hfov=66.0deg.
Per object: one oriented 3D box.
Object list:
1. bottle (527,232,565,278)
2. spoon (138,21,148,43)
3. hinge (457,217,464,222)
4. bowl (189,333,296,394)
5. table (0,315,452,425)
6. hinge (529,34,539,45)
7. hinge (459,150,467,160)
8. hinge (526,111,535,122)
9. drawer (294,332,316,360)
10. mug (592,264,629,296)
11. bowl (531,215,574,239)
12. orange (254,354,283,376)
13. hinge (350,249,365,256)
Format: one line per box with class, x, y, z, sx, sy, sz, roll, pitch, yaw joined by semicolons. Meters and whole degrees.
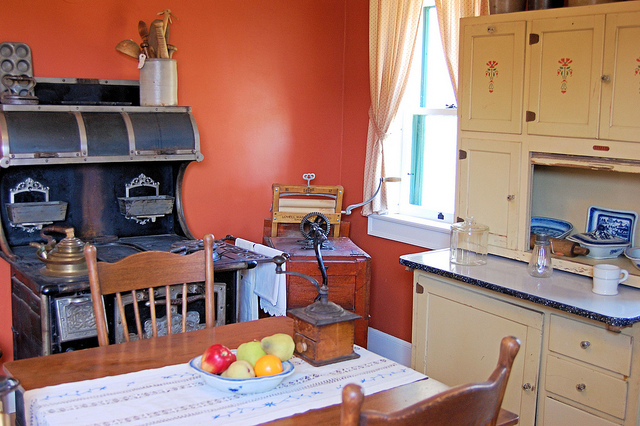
bottle;1.245;0.240;2.699;0.229;0.286;0.163;-2;6;-11
spoon;-1.211;-1.235;3.361;0.055;0.136;0.066;-4;15;-14
hinge;0.869;0.042;3.040;0.024;0.023;0.019;2;4;-23
bowl;-0.231;0.519;1.687;0.236;0.102;0.220;1;-1;0
table;-0.374;0.507;1.870;1.474;0.143;0.755;3;14;13
hinge;1.170;-0.951;2.682;0.012;0.045;0.050;-12;20;-42
hinge;0.877;-0.358;3.008;0.049;0.043;0.012;-1;5;38
hinge;1.169;-0.540;2.722;0.046;0.048;0.012;1;5;39
drawer;-0.057;0.496;1.869;0.089;0.054;0.090;-4;10;-36
mug;1.450;0.332;2.464;0.130;0.121;0.164;-4;6;-39
bowl;1.417;0.079;2.977;0.134;0.035;0.180;-12;20;-39
orange;-0.176;0.519;1.676;0.073;0.069;0.069;-25;37;31
hinge;0.272;0.293;3.583;0.107;0.015;0.139;0;14;1
